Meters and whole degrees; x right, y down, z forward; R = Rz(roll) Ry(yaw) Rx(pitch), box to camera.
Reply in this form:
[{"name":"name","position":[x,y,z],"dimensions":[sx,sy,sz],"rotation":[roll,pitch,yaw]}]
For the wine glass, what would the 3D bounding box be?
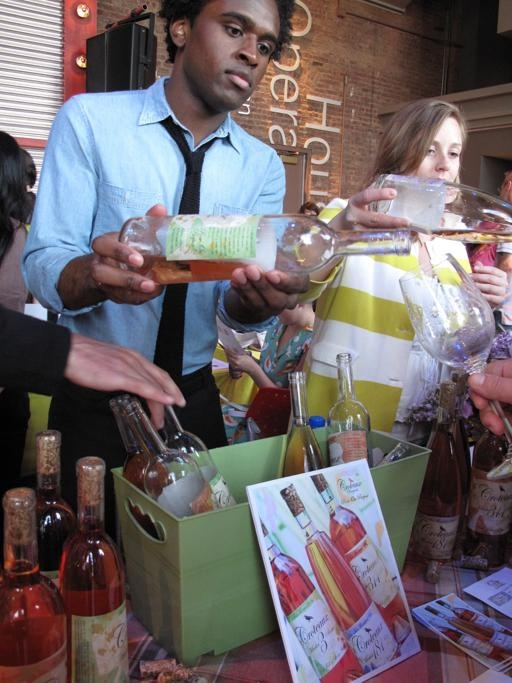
[{"name":"wine glass","position":[0.255,-0.029,0.687],"dimensions":[0.131,0.166,0.076],"rotation":[1,14,4]}]
